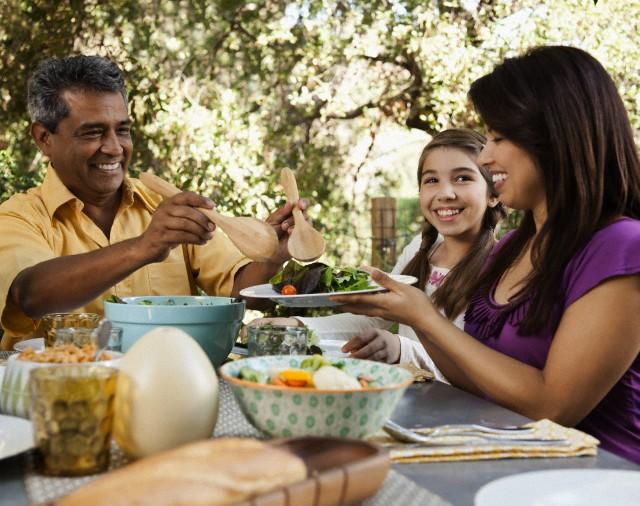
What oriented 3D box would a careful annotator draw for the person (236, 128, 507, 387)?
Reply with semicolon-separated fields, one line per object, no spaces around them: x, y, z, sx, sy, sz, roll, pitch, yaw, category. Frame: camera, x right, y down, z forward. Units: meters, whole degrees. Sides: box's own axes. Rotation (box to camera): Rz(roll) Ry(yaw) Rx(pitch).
0.516;-0.007;3.082;1.432;1.412;0.859;10;-8;-29;person

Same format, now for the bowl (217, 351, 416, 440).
-0.011;0.281;1.159;0.321;0.128;0.287;0;5;-34;bowl

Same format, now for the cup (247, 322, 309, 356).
-0.111;0.224;1.557;0.120;0.072;0.118;0;-2;0;cup

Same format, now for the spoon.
0.320;0.374;1.247;0.332;0.058;0.076;-2;-1;-1;spoon

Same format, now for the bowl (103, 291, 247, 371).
-0.354;0.224;1.657;0.306;0.157;0.309;-5;-3;0;bowl

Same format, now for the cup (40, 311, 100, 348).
-0.620;0.194;1.508;0.136;0.069;0.170;1;4;-22;cup

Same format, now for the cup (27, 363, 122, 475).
-0.456;0.307;1.127;0.159;0.169;0.155;2;-2;0;cup
